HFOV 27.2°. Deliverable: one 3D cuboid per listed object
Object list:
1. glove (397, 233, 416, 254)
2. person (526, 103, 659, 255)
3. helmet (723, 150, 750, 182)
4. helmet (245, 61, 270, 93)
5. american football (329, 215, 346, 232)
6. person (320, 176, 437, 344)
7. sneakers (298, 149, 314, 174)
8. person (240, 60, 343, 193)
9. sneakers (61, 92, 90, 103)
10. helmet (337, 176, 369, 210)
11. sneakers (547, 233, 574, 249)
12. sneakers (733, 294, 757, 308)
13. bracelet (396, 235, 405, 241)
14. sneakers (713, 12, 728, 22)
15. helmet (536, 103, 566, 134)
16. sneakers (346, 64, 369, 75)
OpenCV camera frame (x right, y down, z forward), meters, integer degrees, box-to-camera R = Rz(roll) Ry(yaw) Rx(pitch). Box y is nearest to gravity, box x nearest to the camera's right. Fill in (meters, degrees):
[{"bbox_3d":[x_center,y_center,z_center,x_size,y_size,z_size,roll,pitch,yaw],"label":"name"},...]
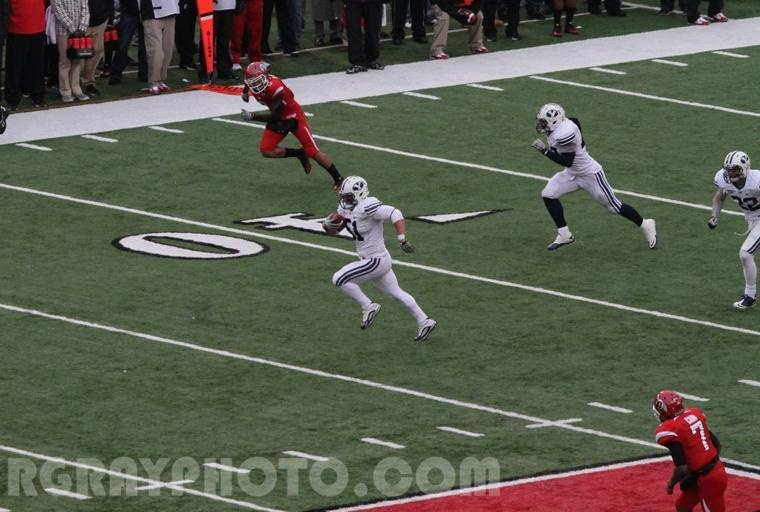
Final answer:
[{"bbox_3d":[0.235,-0.109,18.373,0.101,0.261,0.156,-20,36,41],"label":"glove"},{"bbox_3d":[2.759,-1.014,20.520,1.390,1.900,0.631,-1,13,2],"label":"person"},{"bbox_3d":[4.286,-1.065,18.954,0.303,0.345,0.247,1,12,11],"label":"helmet"},{"bbox_3d":[-1.735,-2.485,22.121,0.332,0.427,0.252,-2,12,-4],"label":"helmet"},{"bbox_3d":[-0.539,-0.378,18.848,0.217,0.148,0.224,-13,8,13],"label":"american football"},{"bbox_3d":[-0.023,0.049,18.636,1.300,1.936,0.587,0,13,4],"label":"person"},{"bbox_3d":[-1.018,-1.324,22.342,0.220,0.326,0.155,-17,11,-19],"label":"sneakers"},{"bbox_3d":[-1.251,-1.860,22.324,1.377,1.744,1.020,-1,12,-2],"label":"person"},{"bbox_3d":[-4.835,-2.495,24.982,0.457,0.133,0.209,-3,10,-19],"label":"sneakers"},{"bbox_3d":[-0.308,-0.764,18.646,0.431,0.245,0.292,-13,13,-21],"label":"helmet"},{"bbox_3d":[2.426,-0.168,20.527,0.471,0.173,0.121,-16,51,16],"label":"sneakers"},{"bbox_3d":[4.417,0.570,19.182,0.340,0.105,0.127,-7,23,-33],"label":"sneakers"},{"bbox_3d":[0.245,-0.197,18.326,0.081,0.053,0.073,-29,-11,-1],"label":"bracelet"},{"bbox_3d":[6.247,-4.367,28.881,0.211,0.073,0.219,0,-1,2],"label":"sneakers"},{"bbox_3d":[2.218,-1.768,20.467,0.364,0.379,0.283,1,11,8],"label":"helmet"},{"bbox_3d":[-0.404,-3.116,26.319,0.456,0.137,0.108,-1,56,-2],"label":"sneakers"}]
